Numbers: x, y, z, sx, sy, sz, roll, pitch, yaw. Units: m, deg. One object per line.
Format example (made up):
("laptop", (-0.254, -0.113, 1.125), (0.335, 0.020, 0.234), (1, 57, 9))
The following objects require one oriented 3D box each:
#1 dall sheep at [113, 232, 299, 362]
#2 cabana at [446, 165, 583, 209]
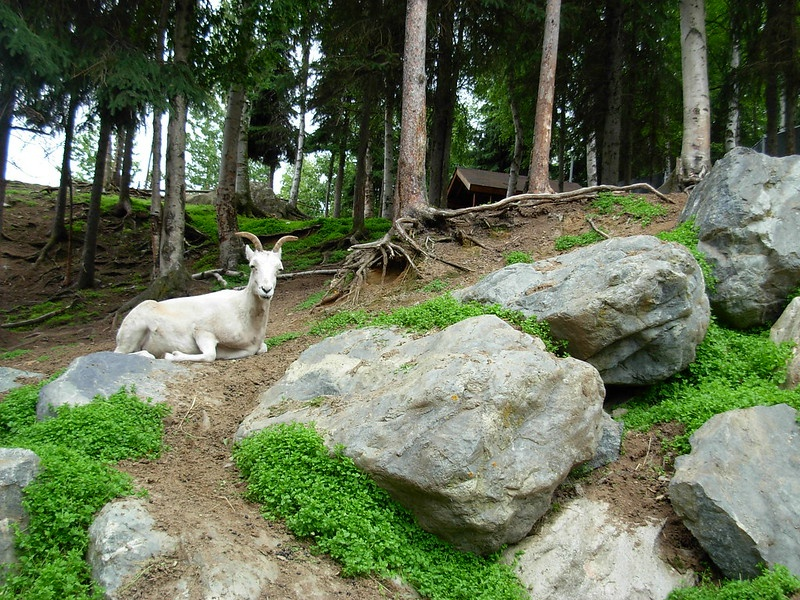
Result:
("dall sheep", (-3.557, 0.125, 11.135), (3.416, 2.507, 1.349), (-6, -13, 15))
("cabana", (5.480, -6.204, 30.751), (6.024, 1.801, 4.282), (-1, 6, -31))
